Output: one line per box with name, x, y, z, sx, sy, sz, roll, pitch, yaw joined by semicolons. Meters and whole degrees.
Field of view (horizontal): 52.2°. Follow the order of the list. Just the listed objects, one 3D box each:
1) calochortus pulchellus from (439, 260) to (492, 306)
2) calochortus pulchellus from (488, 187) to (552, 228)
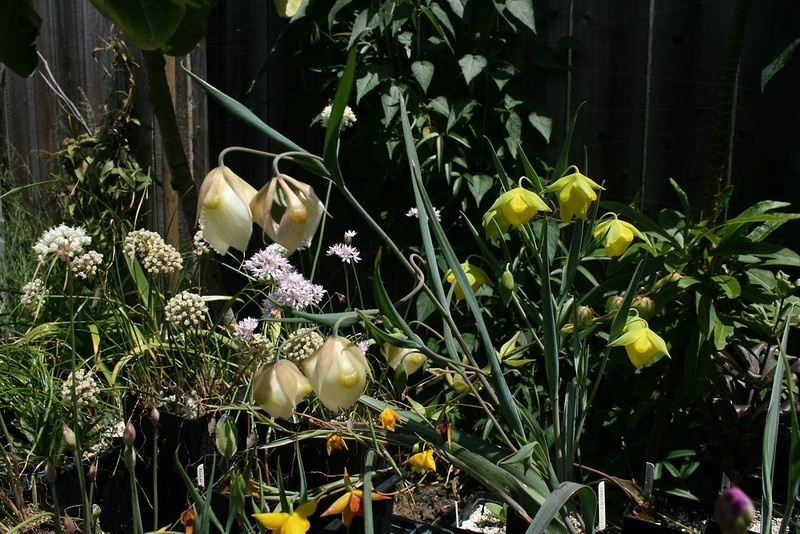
calochortus pulchellus;0.193;0.043;2.489;0.116;0.079;0.124;19;51;43
calochortus pulchellus;0.364;-0.174;2.421;0.113;0.090;0.133;4;-23;1
